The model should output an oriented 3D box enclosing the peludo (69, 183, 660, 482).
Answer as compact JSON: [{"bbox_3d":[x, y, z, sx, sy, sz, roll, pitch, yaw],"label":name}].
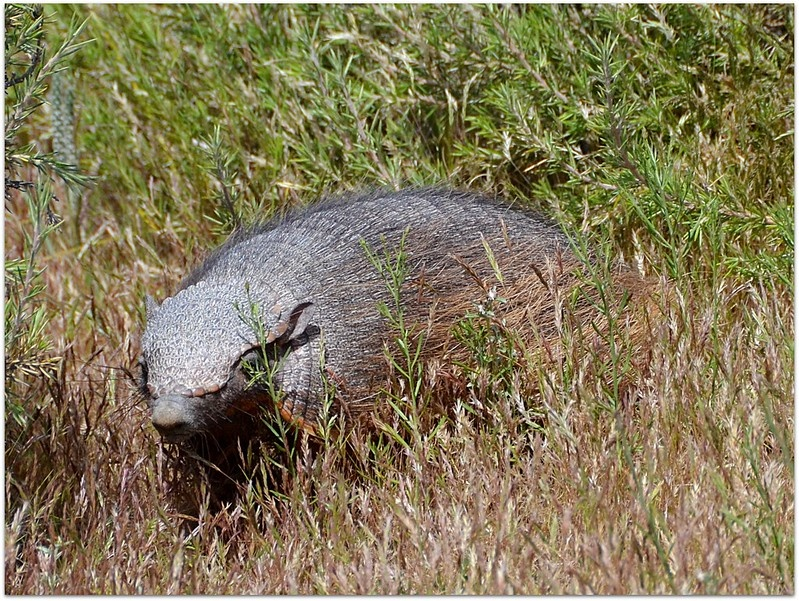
[{"bbox_3d":[-0.125,0.167,3.414,1.997,1.091,0.631,-13,6,-43],"label":"peludo"}]
